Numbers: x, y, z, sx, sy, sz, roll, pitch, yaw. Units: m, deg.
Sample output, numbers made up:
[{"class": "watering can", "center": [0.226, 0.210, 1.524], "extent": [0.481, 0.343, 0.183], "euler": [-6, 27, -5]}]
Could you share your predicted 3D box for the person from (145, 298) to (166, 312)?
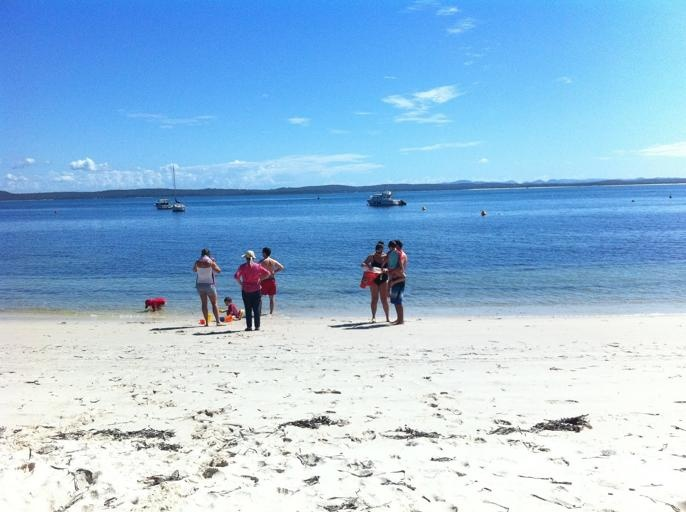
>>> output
[{"class": "person", "center": [-4.769, 1.199, 18.048], "extent": [0.295, 0.394, 0.727], "euler": [1, 9, -4]}]

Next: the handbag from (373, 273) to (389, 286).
[{"class": "handbag", "center": [0.770, 0.437, 14.617], "extent": [0.461, 0.280, 0.236], "euler": [1, 3, -3]}]

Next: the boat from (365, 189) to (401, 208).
[{"class": "boat", "center": [6.592, -8.823, 108.749], "extent": [4.666, 3.580, 8.917], "euler": [1, 14, 7]}]

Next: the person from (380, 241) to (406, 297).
[{"class": "person", "center": [1.078, 0.337, 14.431], "extent": [0.372, 1.350, 0.490], "euler": [-1, 15, 3]}]

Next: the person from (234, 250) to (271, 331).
[{"class": "person", "center": [-1.794, 0.696, 14.337], "extent": [0.656, 1.740, 1.033], "euler": [-4, 15, -8]}]

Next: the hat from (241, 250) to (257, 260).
[{"class": "hat", "center": [-1.868, -0.024, 14.105], "extent": [0.380, 0.178, 0.368], "euler": [6, -3, -2]}]
